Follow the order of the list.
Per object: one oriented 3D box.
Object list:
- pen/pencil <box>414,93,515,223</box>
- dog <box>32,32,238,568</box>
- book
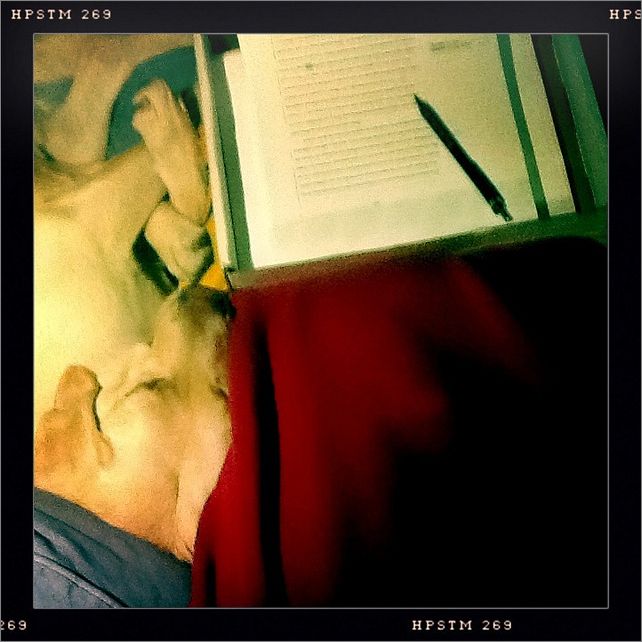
[{"bbox_3d":[0.243,-0.277,1.632,0.027,0.024,0.236,-29,91,13],"label":"pen/pencil"},{"bbox_3d":[-0.342,-0.052,1.621,0.495,0.258,0.816,1,98,-24],"label":"dog"},{"bbox_3d":[0.136,-0.341,1.634,0.581,0.170,0.386,-12,68,2],"label":"book"}]
